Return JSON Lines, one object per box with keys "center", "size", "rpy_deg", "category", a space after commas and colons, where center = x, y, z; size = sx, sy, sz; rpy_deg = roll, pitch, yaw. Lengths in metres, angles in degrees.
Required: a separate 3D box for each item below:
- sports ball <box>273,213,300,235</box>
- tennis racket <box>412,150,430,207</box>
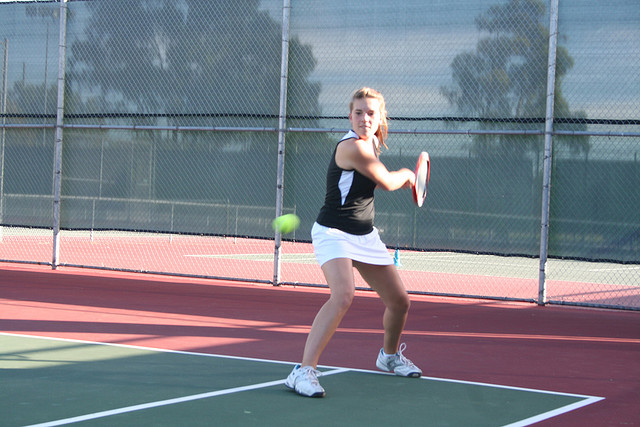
{"center": [-0.527, 0.188, 13.908], "size": [0.383, 0.225, 0.302], "rpy_deg": [-3, 10, 4], "category": "sports ball"}
{"center": [1.216, -0.395, 9.841], "size": [0.063, 0.669, 0.660], "rpy_deg": [8, 20, 21], "category": "tennis racket"}
